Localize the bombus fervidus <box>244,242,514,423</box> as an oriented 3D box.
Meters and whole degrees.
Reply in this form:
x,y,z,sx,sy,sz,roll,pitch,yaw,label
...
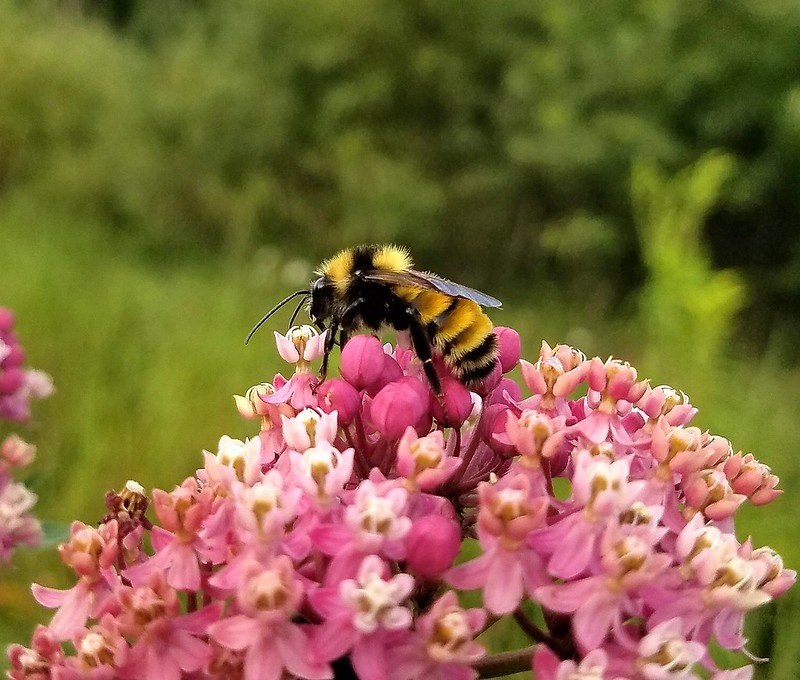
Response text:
x,y,z,sx,sy,sz,roll,pitch,yaw,label
-0.004,-0.010,1.735,0.359,0.186,0.266,4,-1,39,bombus fervidus
